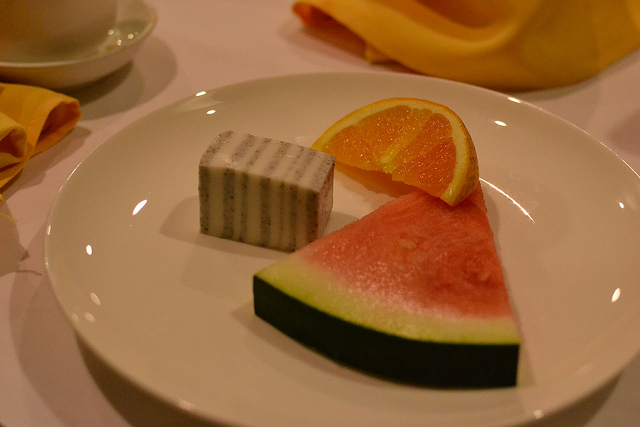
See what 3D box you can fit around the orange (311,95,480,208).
[{"bbox_3d":[0.211,-0.155,1.332,0.400,0.102,0.249,25,73,31],"label":"orange"}]
